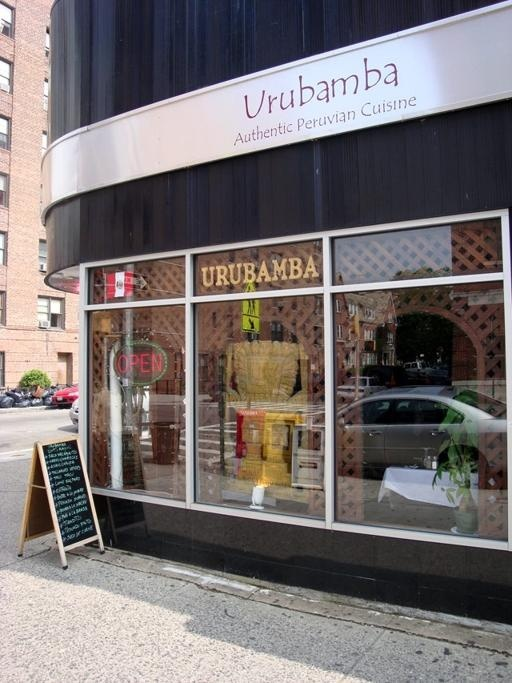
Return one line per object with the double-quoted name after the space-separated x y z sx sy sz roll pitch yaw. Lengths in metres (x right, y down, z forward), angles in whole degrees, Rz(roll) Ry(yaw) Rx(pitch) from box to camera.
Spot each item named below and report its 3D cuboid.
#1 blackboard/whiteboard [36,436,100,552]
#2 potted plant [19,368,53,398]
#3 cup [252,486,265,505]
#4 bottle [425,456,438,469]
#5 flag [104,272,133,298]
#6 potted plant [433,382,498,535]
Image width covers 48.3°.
-1.666 1.391 5.158 0.334 0.789 0.523 -1 1 30 "blackboard/whiteboard"
-10.181 1.948 26.850 1.269 1.501 1.209 0 -3 43 "potted plant"
0.020 1.301 4.857 0.106 0.167 0.108 1 -16 0 "cup"
1.314 0.913 4.313 0.086 0.102 0.070 -2 3 -18 "bottle"
-1.384 -0.580 5.793 0.243 0.222 0.025 -1 -2 36 "flag"
1.464 0.828 4.045 0.225 0.976 0.569 -2 1 -29 "potted plant"
